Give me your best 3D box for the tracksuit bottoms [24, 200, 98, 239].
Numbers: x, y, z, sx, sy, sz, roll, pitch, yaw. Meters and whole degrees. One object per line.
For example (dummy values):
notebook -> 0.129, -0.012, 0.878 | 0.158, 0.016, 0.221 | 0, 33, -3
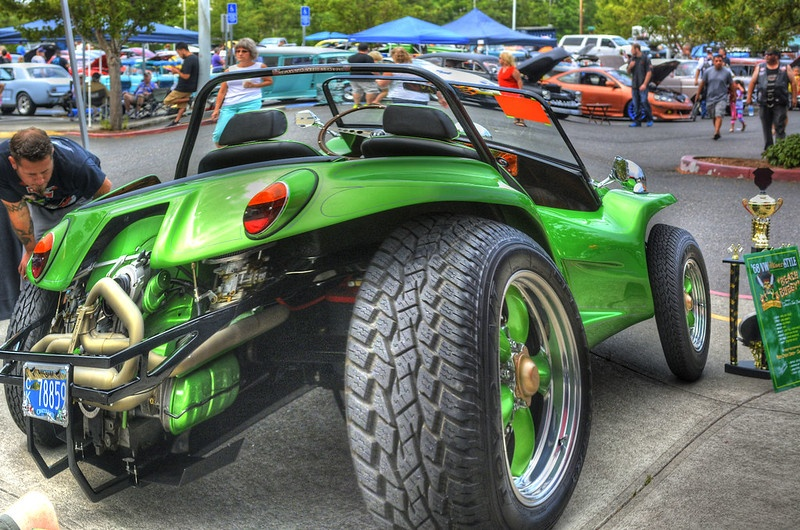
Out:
tracksuit bottoms -> -2.115, -0.297, 4.073 | 0.412, 0.231, 0.114 | -6, 47, -42

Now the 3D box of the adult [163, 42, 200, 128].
adult -> -5.930, -4.916, 17.901 | 0.830, 2.223, 0.828 | 26, 19, 34

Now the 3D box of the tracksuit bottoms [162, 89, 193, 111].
tracksuit bottoms -> -6.253, -4.680, 18.440 | 0.730, 0.321, 0.586 | 4, 5, 19

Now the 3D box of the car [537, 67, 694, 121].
car -> 6.958, -5.476, 21.030 | 3.917, 1.189, 2.260 | 5, 21, 15

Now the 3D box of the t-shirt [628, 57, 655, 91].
t-shirt -> 7.123, -5.734, 19.431 | 0.814, 0.954, 0.505 | 11, 20, 44

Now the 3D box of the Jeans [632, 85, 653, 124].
Jeans -> 7.302, -4.881, 19.950 | 0.630, 0.508, 1.613 | -3, 56, 22

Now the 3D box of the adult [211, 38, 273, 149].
adult -> -1.080, -1.081, 4.457 | 0.355, 0.940, 0.313 | 5, -1, 13

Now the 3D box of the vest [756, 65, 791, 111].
vest -> 7.768, -3.755, 13.708 | 0.430, 0.807, 0.660 | -16, 22, -38

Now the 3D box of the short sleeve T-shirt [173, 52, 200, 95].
short sleeve T-shirt -> -5.749, -5.241, 17.677 | 0.572, 1.011, 0.904 | 10, 22, -9

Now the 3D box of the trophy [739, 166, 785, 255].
trophy -> 2.615, -0.398, 4.741 | 0.279, 0.616, 0.232 | 3, 10, 32

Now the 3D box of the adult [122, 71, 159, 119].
adult -> -8.574, -5.624, 21.627 | 1.048, 1.717, 1.093 | 6, -3, -4
